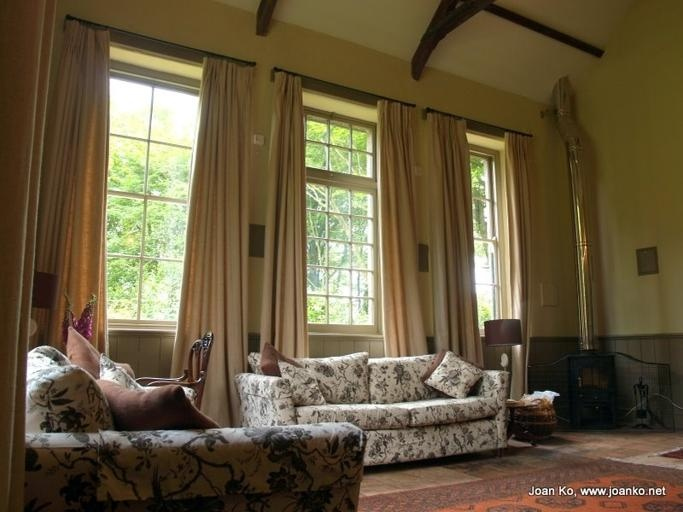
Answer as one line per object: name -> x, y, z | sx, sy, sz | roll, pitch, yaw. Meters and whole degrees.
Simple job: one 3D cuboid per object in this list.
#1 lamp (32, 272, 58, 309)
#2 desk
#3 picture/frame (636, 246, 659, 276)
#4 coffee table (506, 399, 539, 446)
lamp -> -1.927, 0.212, 3.522 | 0.138, 0.240, 0.200 | 3, -7, -27
desk -> 2.938, 1.559, 6.317 | 0.427, 0.816, 0.425 | -2, -9, 22
picture/frame -> 3.670, 0.058, 6.473 | 0.038, 0.410, 0.281 | 11, -14, -31
coffee table -> 1.740, 1.614, 5.227 | 0.241, 0.457, 0.851 | -3, -7, 18
